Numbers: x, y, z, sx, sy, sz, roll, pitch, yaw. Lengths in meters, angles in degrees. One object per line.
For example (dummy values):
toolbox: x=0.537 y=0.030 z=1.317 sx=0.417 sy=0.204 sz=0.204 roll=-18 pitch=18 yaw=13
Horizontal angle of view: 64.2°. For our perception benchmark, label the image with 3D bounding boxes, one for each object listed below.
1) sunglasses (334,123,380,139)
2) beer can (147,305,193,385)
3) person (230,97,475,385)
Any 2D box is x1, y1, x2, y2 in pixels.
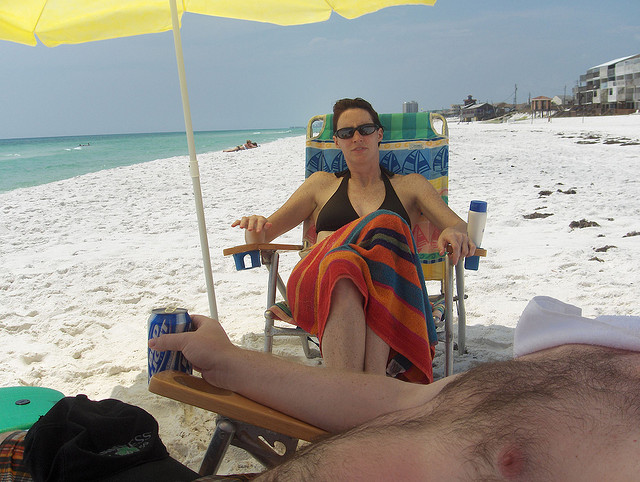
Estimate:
sunglasses: x=0.205 y=-0.612 z=2.847 sx=0.248 sy=0.073 sz=0.087 roll=-3 pitch=11 yaw=1
beer can: x=-0.423 y=0.307 z=1.452 sx=0.128 sy=0.222 sz=0.127 roll=2 pitch=6 yaw=0
person: x=0.133 y=0.036 z=2.317 sx=1.053 sy=1.581 sz=0.835 roll=4 pitch=-19 yaw=-6
